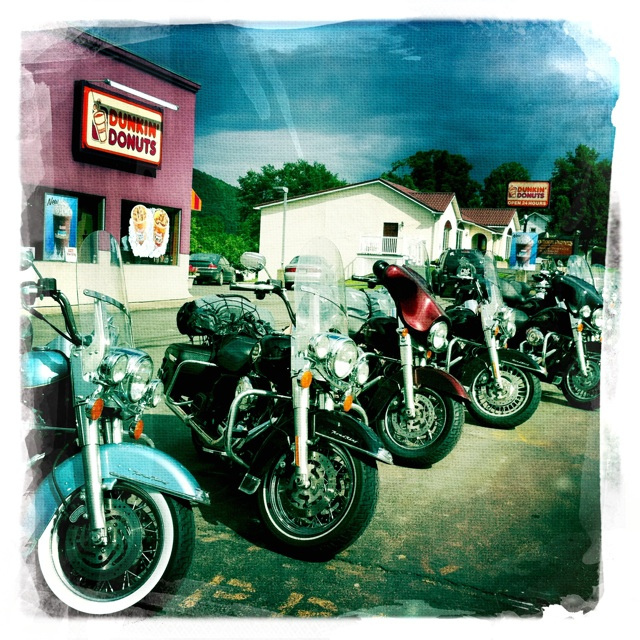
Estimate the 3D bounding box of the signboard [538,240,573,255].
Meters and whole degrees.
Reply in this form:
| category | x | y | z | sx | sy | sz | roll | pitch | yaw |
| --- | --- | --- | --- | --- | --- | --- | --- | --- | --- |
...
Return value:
| category | x | y | z | sx | sy | sz | roll | pitch | yaw |
| --- | --- | --- | --- | --- | --- | --- | --- | --- | --- |
| signboard | 1.459 | -0.447 | 4.029 | 0.162 | 0.028 | 0.276 | 16 | -8 | -18 |

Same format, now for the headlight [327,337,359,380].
| category | x | y | z | sx | sy | sz | roll | pitch | yaw |
| --- | --- | --- | --- | --- | --- | --- | --- | --- | --- |
| headlight | 0.084 | 0.153 | 2.722 | 0.060 | 0.160 | 0.138 | 14 | 9 | 36 |

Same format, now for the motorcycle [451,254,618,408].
| category | x | y | z | sx | sy | sz | roll | pitch | yaw |
| --- | --- | --- | --- | --- | --- | --- | --- | --- | --- |
| motorcycle | 1.907 | 0.027 | 5.544 | 0.918 | 1.135 | 1.695 | 11 | 5 | -25 |

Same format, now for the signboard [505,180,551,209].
| category | x | y | z | sx | sy | sz | roll | pitch | yaw |
| --- | --- | --- | --- | --- | --- | --- | --- | --- | --- |
| signboard | 1.173 | -0.707 | 3.695 | 0.244 | 0.148 | 0.202 | 2 | 6 | 15 |

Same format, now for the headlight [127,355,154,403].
| category | x | y | z | sx | sy | sz | roll | pitch | yaw |
| --- | --- | --- | --- | --- | --- | --- | --- | --- | --- |
| headlight | -0.695 | 0.229 | 2.543 | 0.039 | 0.148 | 0.132 | 12 | 15 | 5 |

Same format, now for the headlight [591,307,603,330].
| category | x | y | z | sx | sy | sz | roll | pitch | yaw |
| --- | --- | --- | --- | --- | --- | --- | --- | --- | --- |
| headlight | 2.135 | -0.012 | 5.031 | 0.108 | 0.148 | 0.039 | -1 | 13 | -19 |

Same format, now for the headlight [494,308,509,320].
| category | x | y | z | sx | sy | sz | roll | pitch | yaw |
| --- | --- | --- | --- | --- | --- | --- | --- | --- | --- |
| headlight | 1.227 | -0.030 | 4.495 | 0.078 | 0.076 | 0.135 | 16 | -2 | -8 |

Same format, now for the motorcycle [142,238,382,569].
| category | x | y | z | sx | sy | sz | roll | pitch | yaw |
| --- | --- | --- | --- | --- | --- | --- | --- | --- | --- |
| motorcycle | -0.326 | 0.258 | 3.283 | 0.547 | 1.265 | 1.713 | 5 | 9 | -38 |
